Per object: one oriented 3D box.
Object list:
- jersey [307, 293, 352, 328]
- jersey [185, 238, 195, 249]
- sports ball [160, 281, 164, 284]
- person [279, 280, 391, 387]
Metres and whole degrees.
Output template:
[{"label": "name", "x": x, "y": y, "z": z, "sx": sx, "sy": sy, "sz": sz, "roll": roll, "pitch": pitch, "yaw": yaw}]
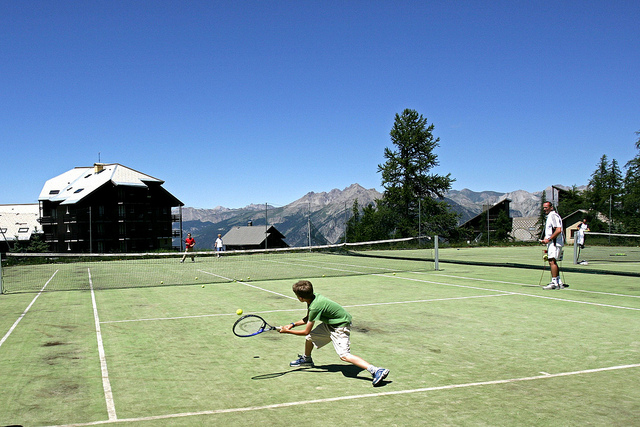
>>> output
[{"label": "jersey", "x": 0.084, "y": 1.564, "z": 7.059, "sx": 0.883, "sy": 0.499, "sz": 0.630, "roll": 4, "pitch": 9, "yaw": -8}, {"label": "jersey", "x": -8.864, "y": 1.935, "z": 29.726, "sx": 0.636, "sy": 0.808, "sz": 0.409, "roll": 4, "pitch": 7, "yaw": -14}, {"label": "sports ball", "x": -6.451, "y": 2.795, "z": 17.823, "sx": 0.105, "sy": 0.075, "sz": 0.106, "roll": -1, "pitch": -3, "yaw": 0}, {"label": "person", "x": 0.117, "y": 1.855, "z": 6.928, "sx": 2.151, "sy": 1.466, "sz": 0.924, "roll": -3, "pitch": -5, "yaw": 43}]
